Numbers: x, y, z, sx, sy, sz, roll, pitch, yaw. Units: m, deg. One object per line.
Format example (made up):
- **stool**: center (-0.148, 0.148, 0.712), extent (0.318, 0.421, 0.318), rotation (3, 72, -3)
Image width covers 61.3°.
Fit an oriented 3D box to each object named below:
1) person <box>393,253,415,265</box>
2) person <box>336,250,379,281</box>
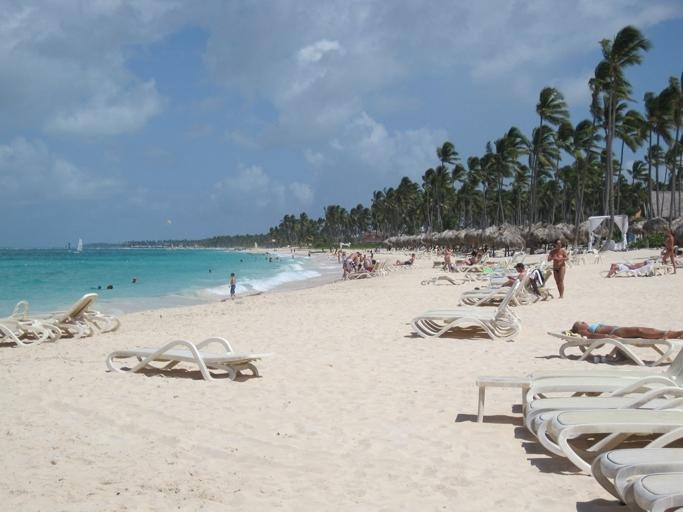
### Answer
- **person**: center (5.123, 0.209, 46.959), extent (1.736, 1.156, 0.409), rotation (-9, 24, -3)
- **person**: center (0.782, 0.467, 26.239), extent (1.918, 0.695, 1.463), rotation (1, 1, -1)
